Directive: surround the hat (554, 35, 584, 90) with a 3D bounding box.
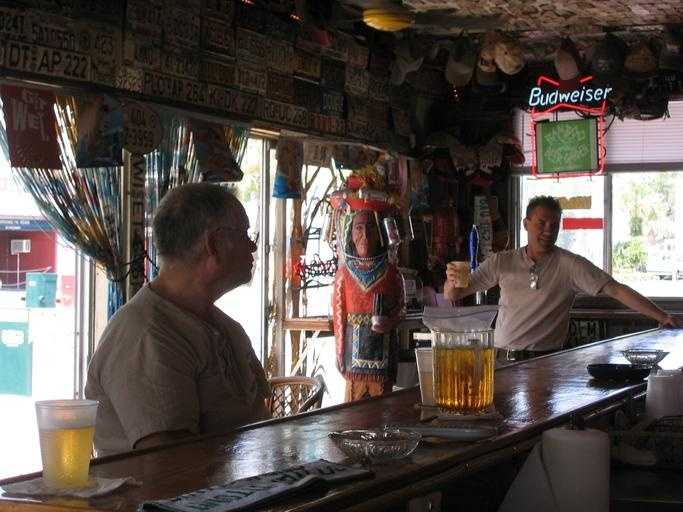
[{"bbox_3d":[2.160,-1.825,6.389,0.164,0.477,0.267,-25,15,-39],"label":"hat"}]

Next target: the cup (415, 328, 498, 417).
[{"bbox_3d":[0.346,0.349,2.031,0.234,0.255,0.290,-4,-3,7],"label":"cup"}]

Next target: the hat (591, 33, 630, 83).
[{"bbox_3d":[2.541,-1.868,6.305,0.251,0.330,0.437,3,41,22],"label":"hat"}]

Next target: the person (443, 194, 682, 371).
[{"bbox_3d":[1.780,0.165,5.181,1.232,1.477,0.471,8,-8,17],"label":"person"}]

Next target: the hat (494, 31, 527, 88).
[{"bbox_3d":[1.571,-1.826,6.109,0.277,0.413,0.131,-5,12,38],"label":"hat"}]

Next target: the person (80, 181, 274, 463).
[{"bbox_3d":[-0.529,0.193,2.262,0.352,0.871,0.597,-6,-4,44],"label":"person"}]

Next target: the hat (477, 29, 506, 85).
[{"bbox_3d":[1.389,-1.839,6.324,0.216,0.410,0.129,7,19,22],"label":"hat"}]

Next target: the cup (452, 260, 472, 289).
[{"bbox_3d":[0.618,0.091,3.349,0.085,0.127,0.170,-5,-4,35],"label":"cup"}]

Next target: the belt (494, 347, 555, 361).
[{"bbox_3d":[1.193,0.636,4.309,0.375,0.046,0.219,-5,-4,13],"label":"belt"}]

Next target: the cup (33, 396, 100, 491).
[{"bbox_3d":[-0.625,0.421,1.497,0.141,0.194,0.126,2,-4,-38],"label":"cup"}]

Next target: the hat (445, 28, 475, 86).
[{"bbox_3d":[1.146,-1.842,6.374,0.248,0.430,0.149,14,34,11],"label":"hat"}]
